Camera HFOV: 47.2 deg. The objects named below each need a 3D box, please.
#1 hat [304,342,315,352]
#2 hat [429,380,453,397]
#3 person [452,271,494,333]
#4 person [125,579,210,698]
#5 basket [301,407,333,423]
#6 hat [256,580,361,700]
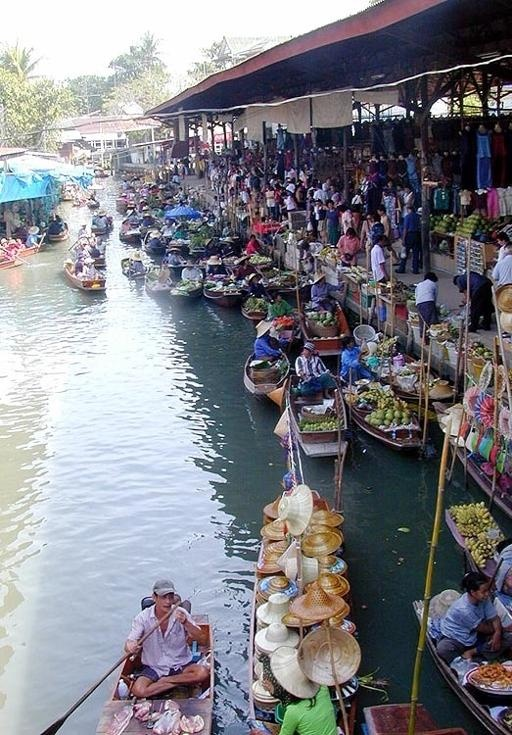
[{"bbox_3d":[0.932,-0.364,10.327,0.198,0.083,0.229,26,-15,28],"label":"hat"},{"bbox_3d":[3.053,0.372,9.667,0.317,0.111,0.332,-1,21,2],"label":"hat"},{"bbox_3d":[3.963,-1.150,10.377,0.367,1.066,0.736,2,16,24],"label":"person"},{"bbox_3d":[-0.713,2.118,4.573,0.595,0.800,0.672,-10,-13,29],"label":"person"},{"bbox_3d":[0.958,0.756,9.268,0.497,0.132,0.447,-3,14,6],"label":"basket"},{"bbox_3d":[0.397,1.829,3.771,0.480,0.660,0.777,-9,39,-7],"label":"hat"}]
